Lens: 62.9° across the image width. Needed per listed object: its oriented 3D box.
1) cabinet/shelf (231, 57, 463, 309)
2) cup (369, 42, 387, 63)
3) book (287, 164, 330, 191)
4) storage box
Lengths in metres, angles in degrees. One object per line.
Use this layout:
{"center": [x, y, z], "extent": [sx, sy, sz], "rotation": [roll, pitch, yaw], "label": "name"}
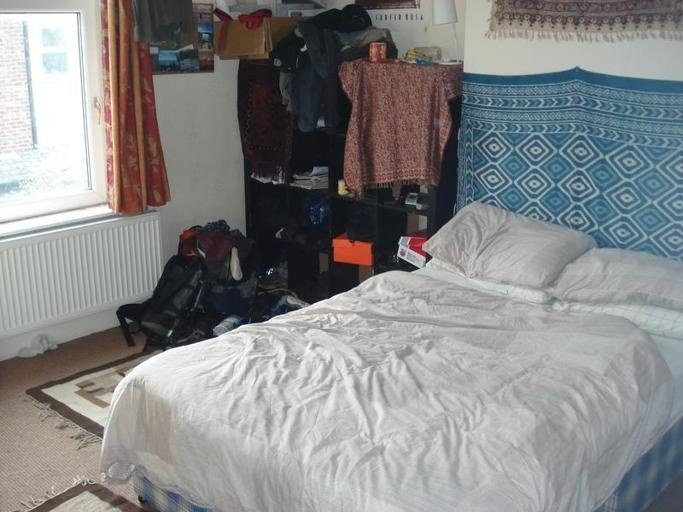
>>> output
{"center": [0.057, -0.559, 3.939], "extent": [1.618, 1.827, 0.473], "rotation": [13, 22, 38], "label": "cabinet/shelf"}
{"center": [0.238, -1.378, 3.762], "extent": [0.130, 0.137, 0.130], "rotation": [4, 25, -2], "label": "cup"}
{"center": [-0.243, -0.608, 4.318], "extent": [0.218, 0.103, 0.219], "rotation": [5, 13, 23], "label": "book"}
{"center": [-0.669, -1.670, 4.284], "extent": [0.659, 0.286, 0.336], "rotation": [16, 25, 39], "label": "storage box"}
